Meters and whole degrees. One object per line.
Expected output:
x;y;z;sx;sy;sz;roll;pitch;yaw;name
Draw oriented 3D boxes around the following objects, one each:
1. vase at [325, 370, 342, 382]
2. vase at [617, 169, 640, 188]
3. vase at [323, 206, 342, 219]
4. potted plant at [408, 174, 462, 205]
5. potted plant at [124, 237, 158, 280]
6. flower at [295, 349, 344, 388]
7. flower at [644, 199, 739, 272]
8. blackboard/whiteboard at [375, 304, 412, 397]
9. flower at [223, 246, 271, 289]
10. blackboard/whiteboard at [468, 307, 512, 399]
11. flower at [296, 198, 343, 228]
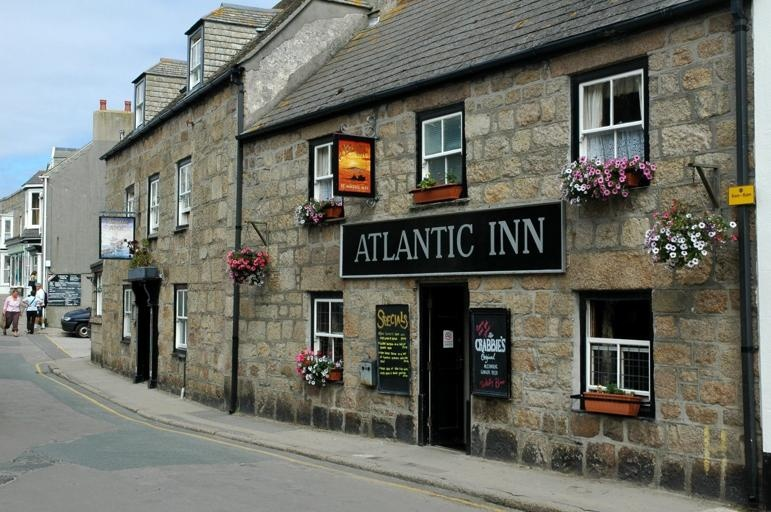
-1.005;2.458;19.448;0.269;0.198;0.223;1;-6;-7;vase
3.982;-1.220;15.484;0.270;0.279;0.336;1;-9;-28;vase
-1.042;-0.880;19.676;0.317;0.167;0.251;2;-4;-43;vase
1.009;-1.170;17.787;0.701;0.238;0.494;-13;-14;35;potted plant
-6.650;0.080;26.191;0.397;1.033;1.019;4;-11;-30;potted plant
-1.345;2.329;19.696;0.677;0.680;0.977;4;-10;-18;flower
4.851;-0.197;14.938;1.122;0.820;1.161;-37;27;-29;flower
0.177;1.798;18.469;0.238;1.727;0.911;-3;5;-44;blackboard/whiteboard
-3.083;0.229;21.023;0.611;0.606;0.741;3;2;32;flower
1.887;1.716;16.988;0.910;1.541;0.229;3;5;37;blackboard/whiteboard
-1.326;-0.892;19.779;0.793;0.354;0.579;-7;-11;33;flower
